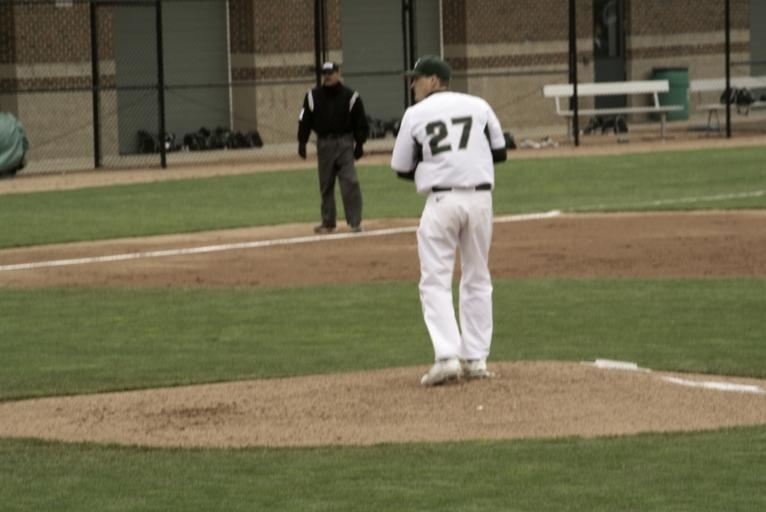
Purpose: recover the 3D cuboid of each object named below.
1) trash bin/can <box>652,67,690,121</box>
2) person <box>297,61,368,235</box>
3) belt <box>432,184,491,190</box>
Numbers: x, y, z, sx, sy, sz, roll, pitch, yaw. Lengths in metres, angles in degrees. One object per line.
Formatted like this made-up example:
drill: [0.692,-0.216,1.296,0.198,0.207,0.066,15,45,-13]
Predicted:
trash bin/can: [8.029,-4.480,59.591,1.242,2.026,1.330,0,3,-3]
person: [-1.003,-2.225,43.798,1.332,3.452,0.899,-3,11,-9]
belt: [1.380,-1.191,37.768,1.033,0.139,0.086,-3,12,-2]
